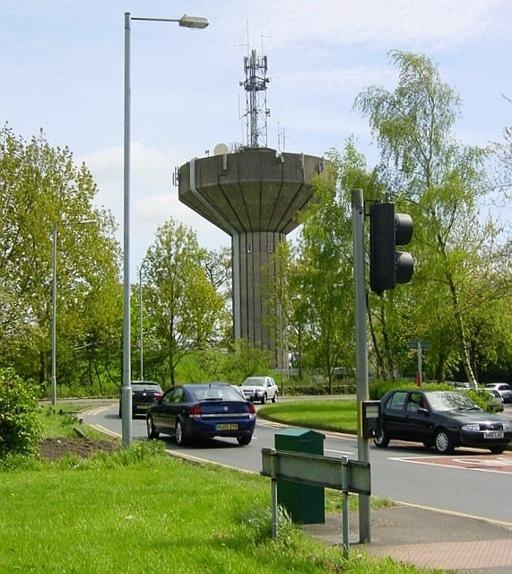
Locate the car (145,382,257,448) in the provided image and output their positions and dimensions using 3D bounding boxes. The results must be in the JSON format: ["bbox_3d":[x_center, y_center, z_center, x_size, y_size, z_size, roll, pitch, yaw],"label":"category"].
[{"bbox_3d":[-1.278,2.662,21.388,0.950,1.138,2.513,3,-2,-18],"label":"car"}]

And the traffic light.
[{"bbox_3d":[1.480,-0.393,10.865,0.298,1.027,0.370,-8,-20,27],"label":"traffic light"}]

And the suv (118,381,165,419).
[{"bbox_3d":[-3.493,3.449,31.491,0.915,1.442,2.237,1,-3,-4],"label":"suv"}]
